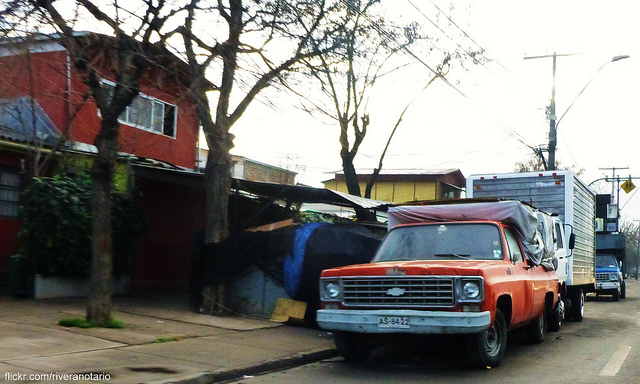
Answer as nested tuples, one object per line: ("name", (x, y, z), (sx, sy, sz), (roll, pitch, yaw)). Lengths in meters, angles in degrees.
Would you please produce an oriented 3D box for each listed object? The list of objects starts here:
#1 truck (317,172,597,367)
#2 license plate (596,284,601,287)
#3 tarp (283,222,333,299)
("truck", (4.612, 2.041, 19.130), (3.913, 3.514, 9.746), (-7, -12, 33))
("license plate", (12.646, 4.271, 30.427), (0.274, 0.094, 0.065), (-1, 7, -34))
("tarp", (-0.597, 2.076, 19.868), (0.713, 2.139, 1.052), (6, 8, 27))
